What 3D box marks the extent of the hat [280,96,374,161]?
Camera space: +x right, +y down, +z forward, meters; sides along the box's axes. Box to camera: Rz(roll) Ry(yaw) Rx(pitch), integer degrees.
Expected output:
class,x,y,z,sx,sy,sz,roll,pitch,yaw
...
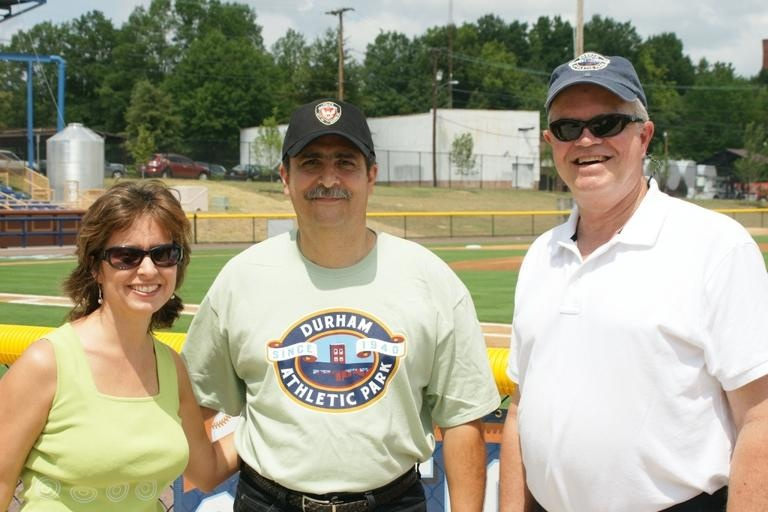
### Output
class,x,y,z,sx,sy,sz,roll,pitch,yaw
hat,-0.307,-0.680,5.375,0.496,0.323,0.605,0,-3,-20

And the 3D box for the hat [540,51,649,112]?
class,x,y,z,sx,sy,sz,roll,pitch,yaw
hat,1.133,-0.929,5.302,0.484,0.329,0.663,-3,-1,14

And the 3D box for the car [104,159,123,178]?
class,x,y,z,sx,sy,sz,roll,pitch,yaw
car,-14.197,-4.512,51.775,0.994,0.740,2.620,-2,5,-16
